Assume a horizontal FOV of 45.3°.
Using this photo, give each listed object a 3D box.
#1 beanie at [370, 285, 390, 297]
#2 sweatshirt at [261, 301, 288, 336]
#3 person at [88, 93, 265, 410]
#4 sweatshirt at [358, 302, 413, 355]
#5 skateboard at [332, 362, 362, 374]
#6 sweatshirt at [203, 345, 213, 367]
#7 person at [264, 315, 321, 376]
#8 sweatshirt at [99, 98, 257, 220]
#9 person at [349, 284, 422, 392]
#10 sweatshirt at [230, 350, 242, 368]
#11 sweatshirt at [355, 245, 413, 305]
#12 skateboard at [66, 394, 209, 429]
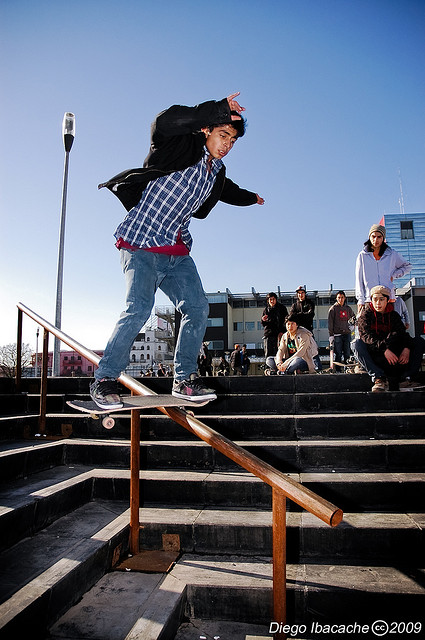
[{"bbox_3d":[1.883,-0.326,5.722,0.196,0.118,0.180,1,-3,17],"label":"beanie"},{"bbox_3d":[1.241,-0.017,10.286,0.460,0.667,0.516,2,-3,6],"label":"sweatshirt"},{"bbox_3d":[-0.034,-0.412,3.354,1.000,1.926,1.409,-10,-15,44],"label":"person"},{"bbox_3d":[1.937,0.075,5.686,0.614,0.360,0.829,0,26,1],"label":"sweatshirt"},{"bbox_3d":[2.473,0.874,9.432,0.482,0.193,0.417,0,-33,-3],"label":"skateboard"},{"bbox_3d":[-0.126,0.899,12.496,0.159,0.449,0.331,-5,1,40],"label":"sweatshirt"},{"bbox_3d":[1.208,0.412,7.672,0.784,0.932,0.795,1,-3,-7],"label":"person"},{"bbox_3d":[-0.258,-1.088,3.380,0.879,0.581,1.104,-2,14,8],"label":"sweatshirt"},{"bbox_3d":[1.875,0.193,5.599,0.641,1.207,0.756,2,-3,-2],"label":"person"},{"bbox_3d":[0.783,1.266,16.713,0.320,0.580,0.402,2,-3,0],"label":"sweatshirt"},{"bbox_3d":[2.098,-0.557,6.324,0.521,0.719,0.505,0,-3,36],"label":"sweatshirt"},{"bbox_3d":[-0.377,0.468,2.951,0.766,0.103,0.276,1,0,-30],"label":"skateboard"}]
